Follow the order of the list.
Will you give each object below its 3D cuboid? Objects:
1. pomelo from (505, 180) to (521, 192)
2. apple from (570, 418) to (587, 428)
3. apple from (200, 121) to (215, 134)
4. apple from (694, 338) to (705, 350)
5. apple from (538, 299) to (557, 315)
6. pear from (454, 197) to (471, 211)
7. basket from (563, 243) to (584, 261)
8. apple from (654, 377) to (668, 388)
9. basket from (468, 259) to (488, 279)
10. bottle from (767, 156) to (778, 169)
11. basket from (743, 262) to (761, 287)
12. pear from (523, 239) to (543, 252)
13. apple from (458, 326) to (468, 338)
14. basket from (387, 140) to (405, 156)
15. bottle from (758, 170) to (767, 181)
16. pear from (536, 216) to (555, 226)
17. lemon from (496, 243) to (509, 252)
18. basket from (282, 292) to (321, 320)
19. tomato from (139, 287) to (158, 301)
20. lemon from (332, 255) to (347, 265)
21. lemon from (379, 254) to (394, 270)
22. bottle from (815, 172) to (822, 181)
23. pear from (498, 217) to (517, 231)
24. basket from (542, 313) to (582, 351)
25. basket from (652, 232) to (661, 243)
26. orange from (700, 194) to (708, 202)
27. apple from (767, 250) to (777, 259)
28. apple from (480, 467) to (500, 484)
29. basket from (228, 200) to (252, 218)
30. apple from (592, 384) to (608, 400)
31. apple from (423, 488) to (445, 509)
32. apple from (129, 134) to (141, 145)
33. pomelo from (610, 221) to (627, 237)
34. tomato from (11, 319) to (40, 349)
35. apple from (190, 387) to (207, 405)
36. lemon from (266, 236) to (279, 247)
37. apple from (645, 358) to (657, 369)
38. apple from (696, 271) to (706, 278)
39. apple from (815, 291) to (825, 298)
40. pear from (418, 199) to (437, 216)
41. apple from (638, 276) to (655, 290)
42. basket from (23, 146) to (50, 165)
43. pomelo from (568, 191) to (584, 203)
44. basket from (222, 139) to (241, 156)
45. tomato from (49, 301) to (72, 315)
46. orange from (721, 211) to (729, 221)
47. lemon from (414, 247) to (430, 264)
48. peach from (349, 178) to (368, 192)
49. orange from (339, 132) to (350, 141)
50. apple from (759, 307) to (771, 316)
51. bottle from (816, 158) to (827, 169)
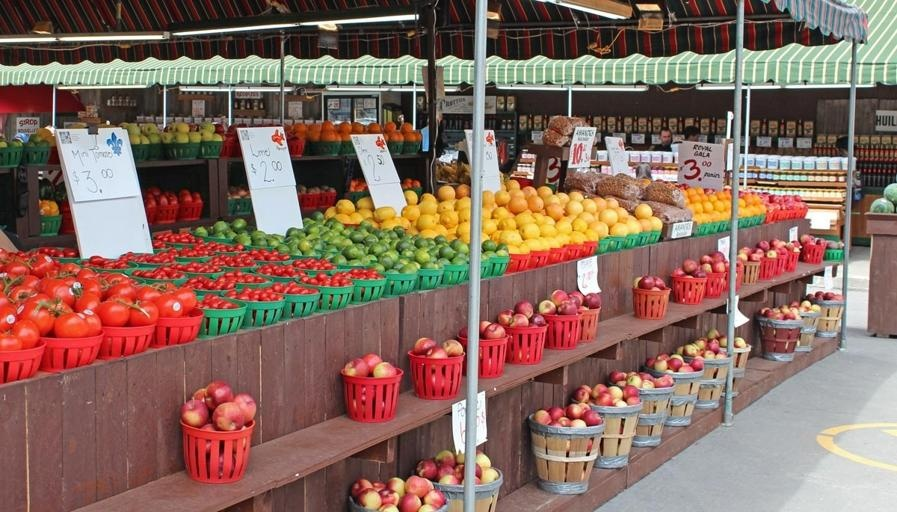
[{"bbox_3d":[0.544,-0.621,6.363,0.126,0.129,0.121,1,4,36],"label":"pomelo"},{"bbox_3d":[0.913,1.178,5.146,0.069,0.060,0.059,-2,-10,-10],"label":"apple"},{"bbox_3d":[-2.052,-1.107,6.220,0.092,0.070,0.122,-8,4,28],"label":"apple"},{"bbox_3d":[2.326,0.822,6.769,0.074,0.076,0.075,-12,-7,36],"label":"apple"},{"bbox_3d":[0.695,0.360,5.153,0.098,0.099,0.099,-11,7,-3],"label":"apple"},{"bbox_3d":[0.119,-0.418,5.712,0.134,0.104,0.107,-8,15,8],"label":"pear"},{"bbox_3d":[0.950,-0.041,5.608,0.128,0.094,0.131,0,2,21],"label":"basket"},{"bbox_3d":[1.710,1.009,5.872,0.082,0.084,0.084,-1,0,-7],"label":"apple"},{"bbox_3d":[0.160,0.067,4.134,0.144,0.110,0.145,-3,6,-15],"label":"basket"},{"bbox_3d":[6.548,-1.930,14.747,0.223,0.281,0.226,0,1,0],"label":"bottle"},{"bbox_3d":[3.039,0.167,7.421,0.233,0.183,0.231,-7,11,-36],"label":"basket"},{"bbox_3d":[0.616,-0.097,5.354,0.110,0.088,0.084,12,19,36],"label":"pear"},{"bbox_3d":[0.092,0.485,4.693,0.068,0.057,0.076,-2,4,3],"label":"apple"},{"bbox_3d":[-0.535,-1.097,7.324,0.143,0.114,0.144,-5,11,-17],"label":"basket"},{"bbox_3d":[6.407,-1.667,14.868,0.231,0.175,0.134,-3,-7,38],"label":"bottle"},{"bbox_3d":[0.761,-0.286,5.705,0.118,0.070,0.089,2,5,-28],"label":"pear"},{"bbox_3d":[0.374,-0.055,5.064,0.061,0.051,0.055,6,-13,-4],"label":"lemon"},{"bbox_3d":[-0.823,0.267,4.011,0.156,0.093,0.159,0,-1,3],"label":"basket"},{"bbox_3d":[-1.468,0.183,3.561,0.064,0.066,0.065,-9,-1,8],"label":"tomato"},{"bbox_3d":[-0.685,0.020,4.546,0.060,0.065,0.063,-7,-7,-9],"label":"lemon"},{"bbox_3d":[-0.380,0.034,4.572,0.080,0.091,0.100,-12,48,-4],"label":"lemon"},{"bbox_3d":[7.277,-1.586,14.390,0.127,0.160,0.056,2,3,11],"label":"bottle"},{"bbox_3d":[0.440,-0.250,5.519,0.136,0.097,0.100,12,2,-7],"label":"pear"},{"bbox_3d":[0.784,0.549,5.231,0.241,0.181,0.248,-6,-5,-17],"label":"basket"},{"bbox_3d":[1.858,-0.179,6.511,0.101,0.073,0.100,-10,13,-41],"label":"basket"},{"bbox_3d":[2.542,-0.590,7.265,0.078,0.081,0.091,3,0,3],"label":"orange"},{"bbox_3d":[3.390,-0.030,7.658,0.068,0.074,0.093,10,0,13],"label":"apple"},{"bbox_3d":[0.255,1.394,4.592,0.121,0.057,0.190,-2,14,4],"label":"apple"},{"bbox_3d":[-1.873,-0.437,6.492,0.162,0.097,0.211,0,0,-15],"label":"basket"},{"bbox_3d":[1.140,1.017,5.511,0.103,0.112,0.105,2,16,37],"label":"apple"},{"bbox_3d":[-0.089,1.431,4.317,0.104,0.105,0.100,1,-11,6],"label":"apple"},{"bbox_3d":[-2.511,-0.945,5.827,0.091,0.083,0.072,-14,17,-39],"label":"apple"},{"bbox_3d":[1.406,-0.224,6.039,0.110,0.116,0.130,3,-14,-43],"label":"pomelo"},{"bbox_3d":[-1.858,0.337,3.253,0.113,0.119,0.116,-17,-2,41],"label":"tomato"},{"bbox_3d":[-1.230,0.686,3.599,0.065,0.081,0.066,7,-33,-4],"label":"apple"},{"bbox_3d":[-1.183,-0.101,4.891,0.069,0.050,0.089,4,11,-7],"label":"lemon"},{"bbox_3d":[1.730,0.918,6.257,0.069,0.084,0.068,33,-41,-30],"label":"apple"},{"bbox_3d":[2.234,0.159,6.469,0.057,0.035,0.070,-2,0,-6],"label":"apple"},{"bbox_3d":[4.325,0.451,8.527,0.103,0.045,0.103,-8,8,-29],"label":"apple"},{"bbox_3d":[-0.166,-0.386,5.686,0.124,0.101,0.100,1,0,13],"label":"pear"},{"bbox_3d":[1.624,0.215,5.992,0.105,0.111,0.101,5,13,44],"label":"apple"},{"bbox_3d":[-3.076,-0.759,5.443,0.143,0.081,0.146,0,4,7],"label":"basket"},{"bbox_3d":[1.095,-0.515,6.248,0.098,0.100,0.115,6,19,-21],"label":"pomelo"},{"bbox_3d":[-1.919,-0.955,6.423,0.159,0.121,0.163,-1,5,9],"label":"basket"},{"bbox_3d":[-1.777,0.235,3.324,0.066,0.068,0.088,-9,-10,-11],"label":"tomato"},{"bbox_3d":[2.795,-0.427,7.342,0.083,0.086,0.101,15,25,27],"label":"orange"},{"bbox_3d":[-0.169,-0.014,4.608,0.070,0.077,0.096,-4,-3,-3],"label":"lemon"},{"bbox_3d":[-0.936,-0.744,7.392,0.156,0.064,0.157,-15,38,-24],"label":"peach"},{"bbox_3d":[-1.018,-1.162,7.050,0.089,0.089,0.090,6,39,-20],"label":"orange"},{"bbox_3d":[3.408,0.592,7.852,0.087,0.035,0.088,5,12,43],"label":"apple"},{"bbox_3d":[7.371,-1.846,14.403,0.195,0.191,0.194,-1,5,-27],"label":"bottle"}]
